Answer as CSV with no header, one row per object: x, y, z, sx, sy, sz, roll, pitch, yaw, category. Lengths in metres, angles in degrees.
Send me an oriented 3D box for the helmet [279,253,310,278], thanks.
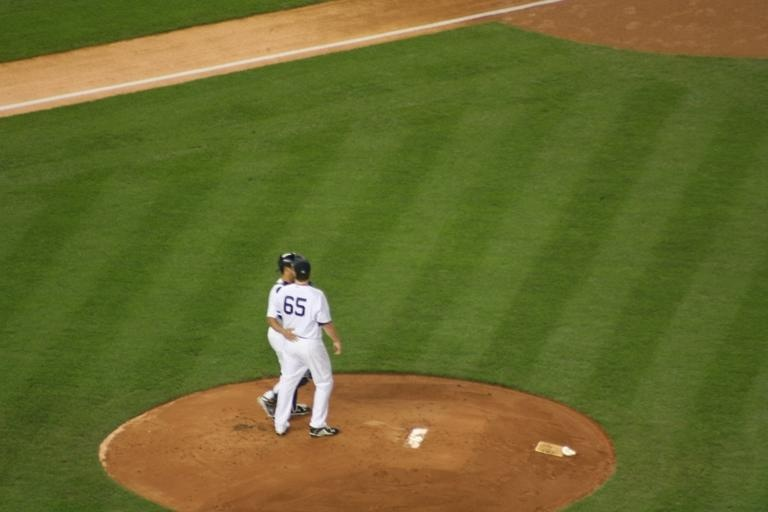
-1.698,0.159,29.600,0.559,0.345,0.369,12,28,11,helmet

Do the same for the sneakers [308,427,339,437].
-1.140,3.462,29.619,0.591,0.212,0.187,-3,6,-9,sneakers
